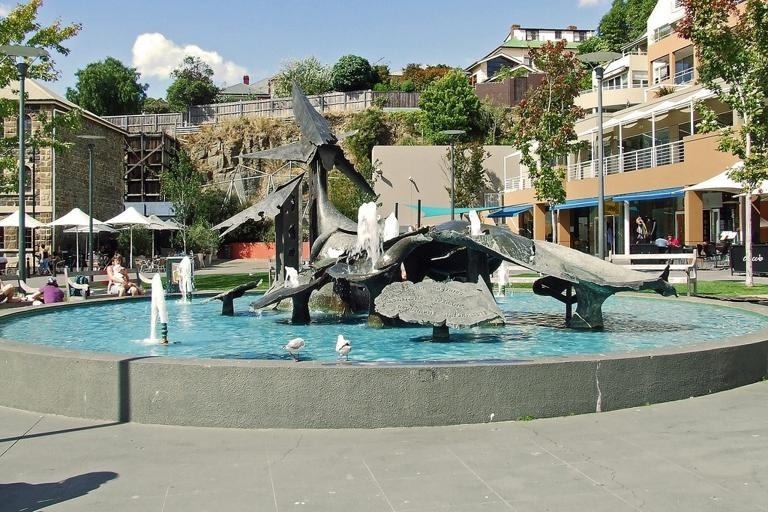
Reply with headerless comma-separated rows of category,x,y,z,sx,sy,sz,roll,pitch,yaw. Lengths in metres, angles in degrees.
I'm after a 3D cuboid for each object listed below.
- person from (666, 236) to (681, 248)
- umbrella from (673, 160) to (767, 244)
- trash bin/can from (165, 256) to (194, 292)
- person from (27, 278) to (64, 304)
person,12.799,-0.598,31.195,0.642,0.325,0.745,6,0,35
umbrella,12.172,-2.486,25.443,2.856,1.515,2.868,-2,4,7
trash bin/can,-6.252,0.544,21.393,0.616,1.164,1.662,-2,8,-5
person,-8.236,0.942,17.343,0.630,0.610,1.065,-3,10,-39
